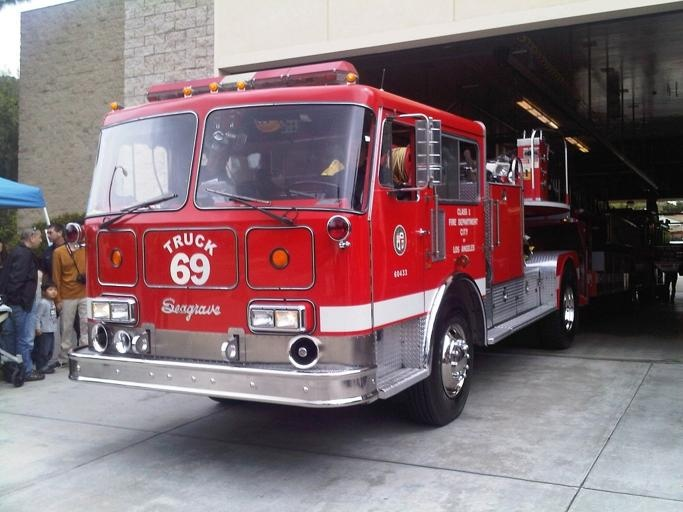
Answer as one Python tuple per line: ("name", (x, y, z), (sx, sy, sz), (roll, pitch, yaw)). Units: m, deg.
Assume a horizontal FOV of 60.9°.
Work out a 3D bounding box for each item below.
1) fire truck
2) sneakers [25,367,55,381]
("fire truck", (-0.018, -0.010, 6.066), (5.145, 3.699, 2.378), (-4, 5, -33))
("sneakers", (-4.411, 1.718, 8.501), (0.369, 0.176, 0.137), (-3, -5, 4))
